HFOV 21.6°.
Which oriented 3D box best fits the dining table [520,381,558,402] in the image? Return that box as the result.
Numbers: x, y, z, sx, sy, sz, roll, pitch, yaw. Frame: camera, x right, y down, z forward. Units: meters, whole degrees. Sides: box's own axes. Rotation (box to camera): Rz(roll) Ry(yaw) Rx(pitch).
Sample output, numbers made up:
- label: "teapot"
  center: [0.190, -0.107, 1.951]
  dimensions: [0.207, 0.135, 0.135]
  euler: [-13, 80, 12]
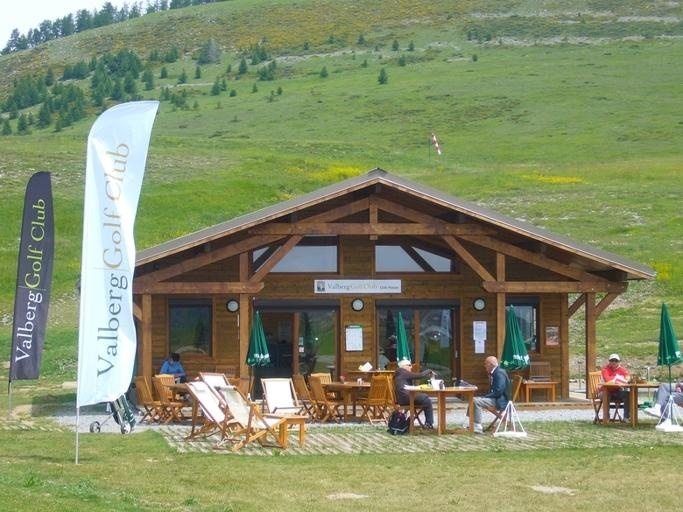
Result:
- label: "dining table"
  center: [20.587, 14.132, 186.756]
  dimensions: [3.650, 2.231, 2.197]
  euler: [-3, -7, 6]
